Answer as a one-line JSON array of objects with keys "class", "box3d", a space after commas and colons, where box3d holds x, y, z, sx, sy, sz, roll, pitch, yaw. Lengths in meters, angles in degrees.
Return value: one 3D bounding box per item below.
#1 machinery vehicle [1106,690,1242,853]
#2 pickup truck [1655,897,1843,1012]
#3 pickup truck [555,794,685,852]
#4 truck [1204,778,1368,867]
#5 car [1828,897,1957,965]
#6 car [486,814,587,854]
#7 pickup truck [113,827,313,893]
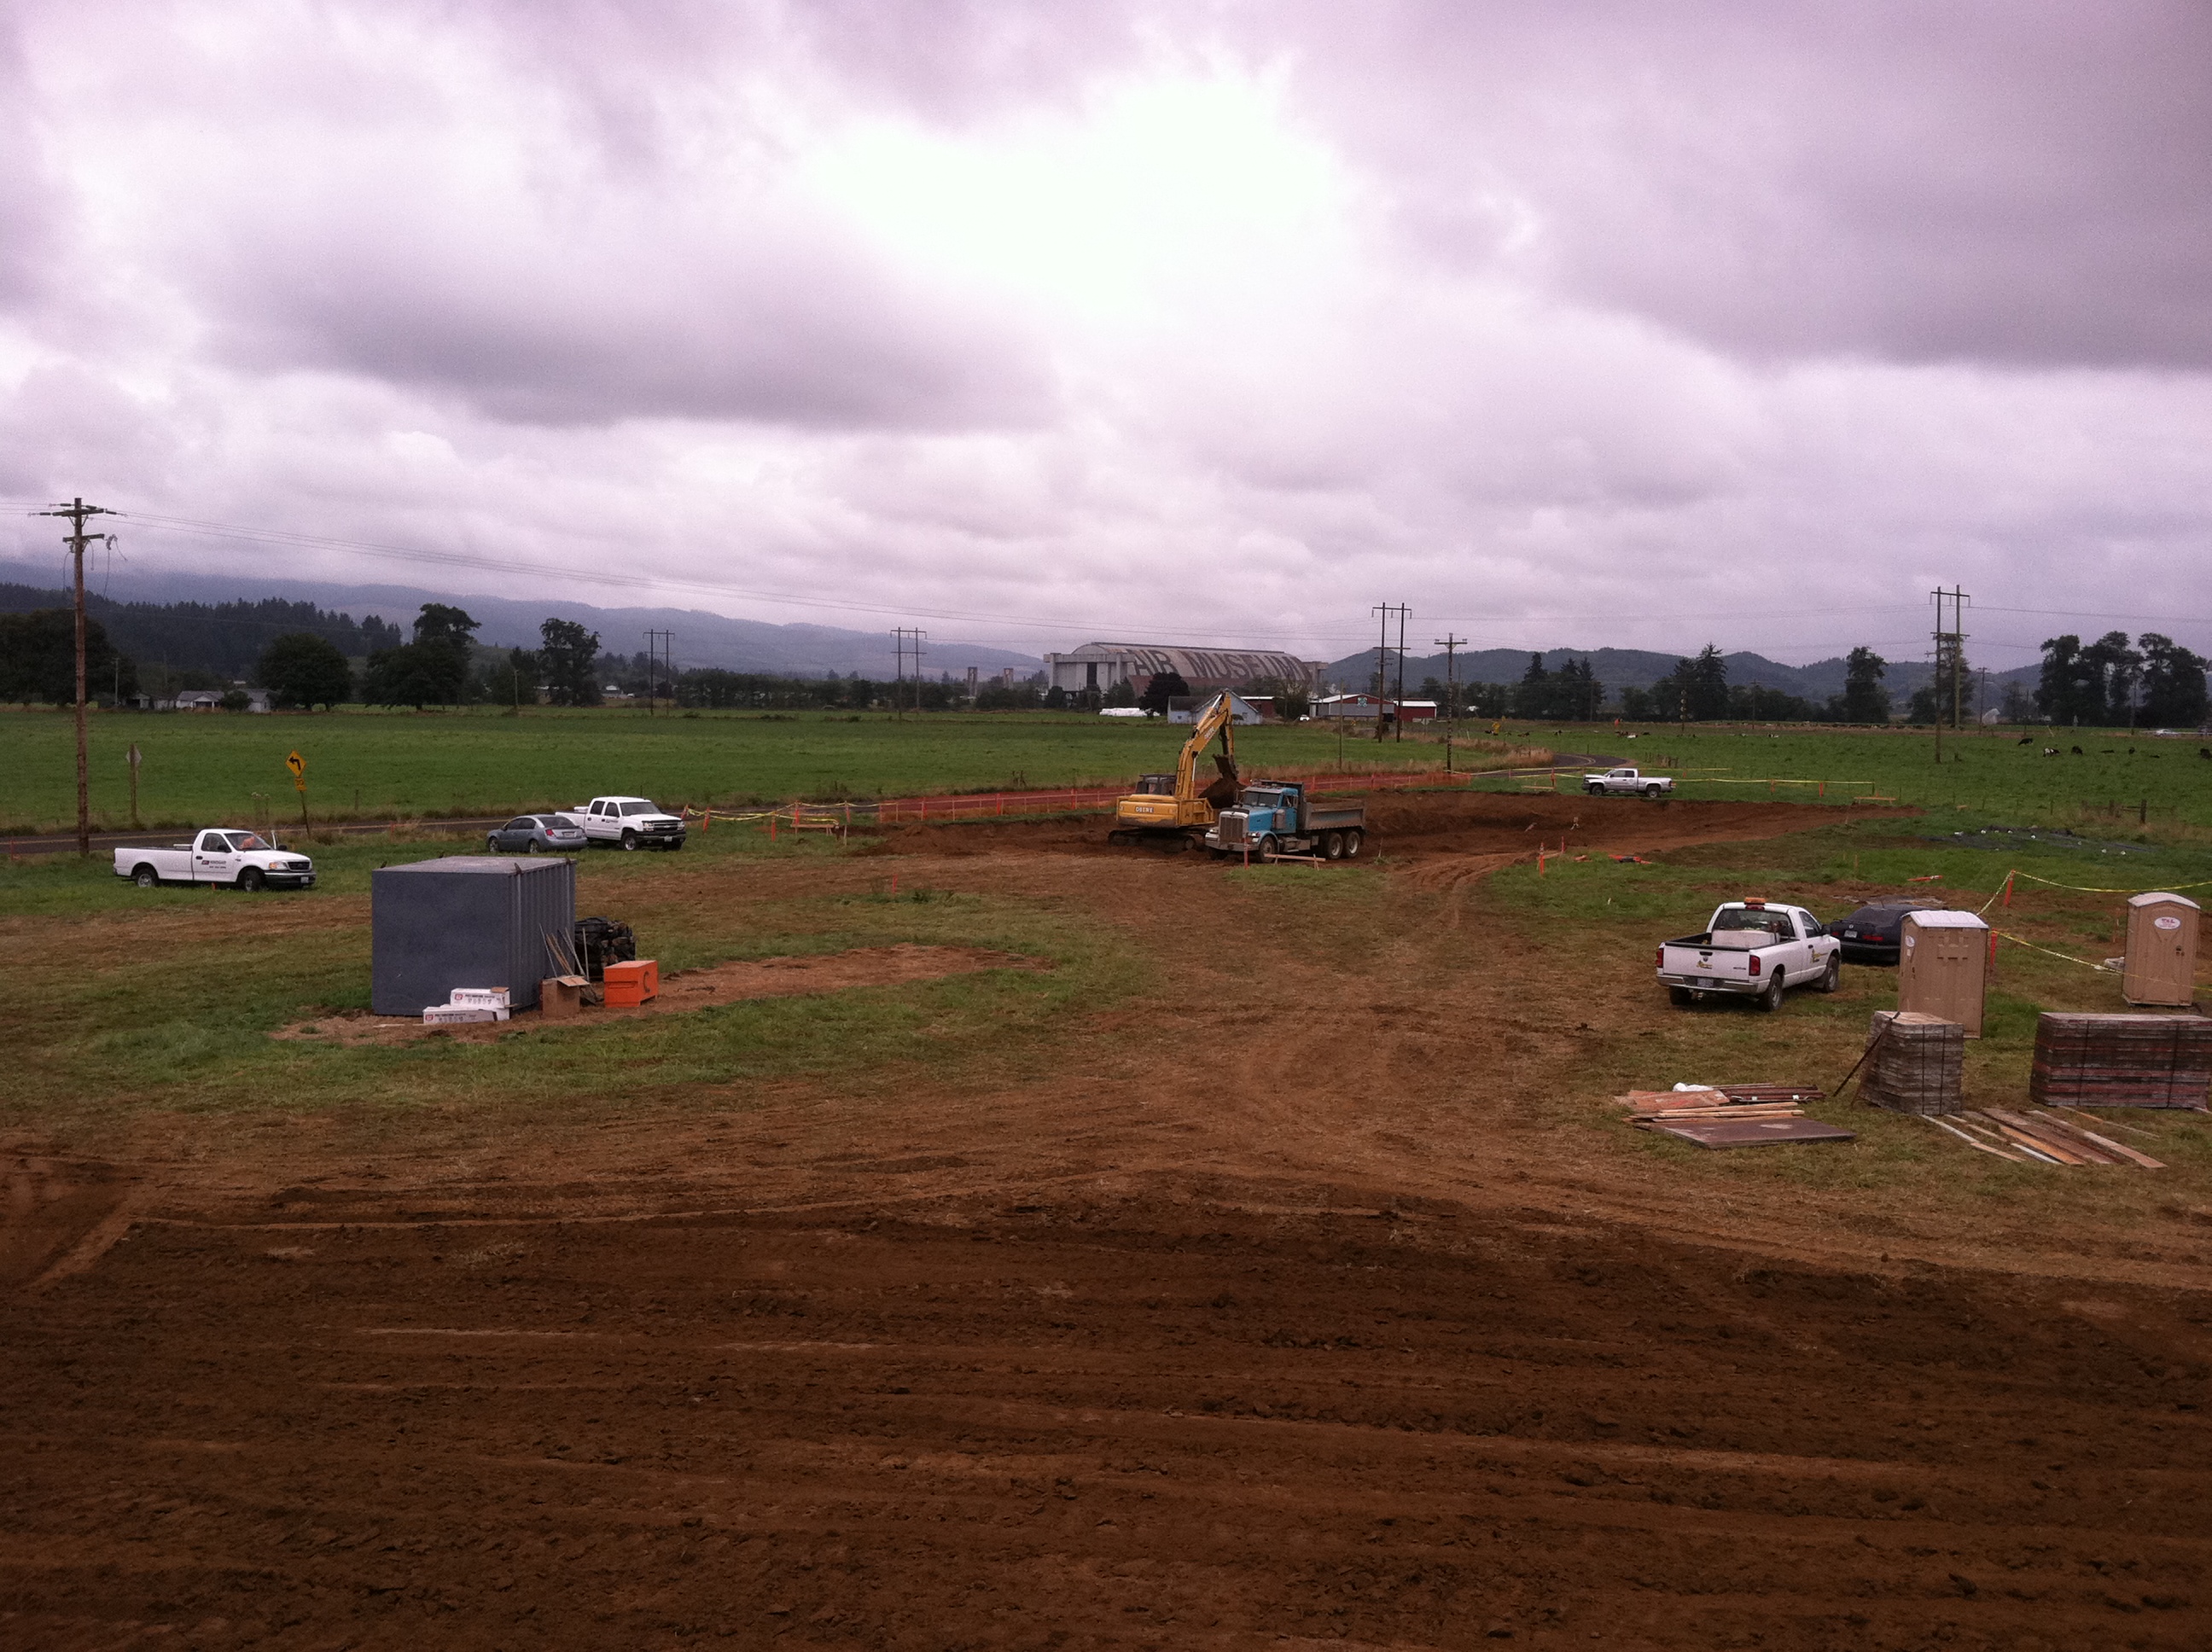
[{"class": "machinery vehicle", "box3d": [2.652, -2.257, 59.214, 2.423, 4.123, 6.469, 7, 11, 24]}, {"class": "pickup truck", "box3d": [11.402, 2.212, 32.747, 1.662, 1.288, 3.643, 5, 9, 43]}, {"class": "pickup truck", "box3d": [-14.686, -0.154, 56.112, 3.669, 1.186, 1.737, 2, 6, 34]}, {"class": "truck", "box3d": [4.894, -0.144, 54.203, 2.017, 1.656, 4.580, -1, -1, 42]}, {"class": "car", "box3d": [15.735, 2.144, 38.123, 1.181, 1.244, 2.193, 5, 5, 26]}, {"class": "car", "box3d": [-17.077, 0.262, 54.289, 2.740, 0.832, 1.246, 8, 8, 38]}, {"class": "pickup truck", "box3d": [-22.251, 0.854, 46.073, 4.870, 1.512, 1.901, 0, 1, 16]}]
